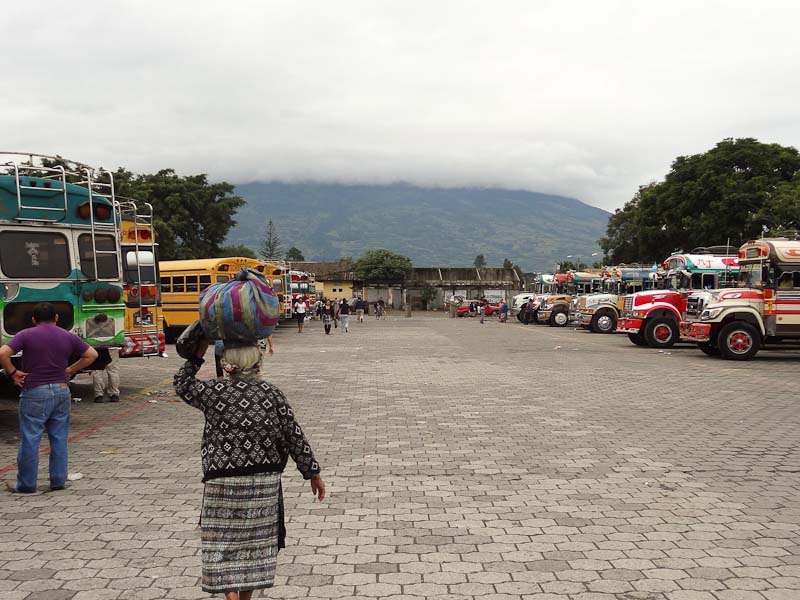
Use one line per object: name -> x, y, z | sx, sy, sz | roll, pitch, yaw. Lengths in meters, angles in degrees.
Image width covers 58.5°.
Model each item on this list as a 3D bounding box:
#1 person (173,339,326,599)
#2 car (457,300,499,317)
person -> -1.000, 1.114, 4.628 | 0.925, 1.631, 0.416 | 1, 6, -9
car -> 7.521, 0.838, 68.572 | 3.113, 1.190, 1.801 | 1, -1, 1
